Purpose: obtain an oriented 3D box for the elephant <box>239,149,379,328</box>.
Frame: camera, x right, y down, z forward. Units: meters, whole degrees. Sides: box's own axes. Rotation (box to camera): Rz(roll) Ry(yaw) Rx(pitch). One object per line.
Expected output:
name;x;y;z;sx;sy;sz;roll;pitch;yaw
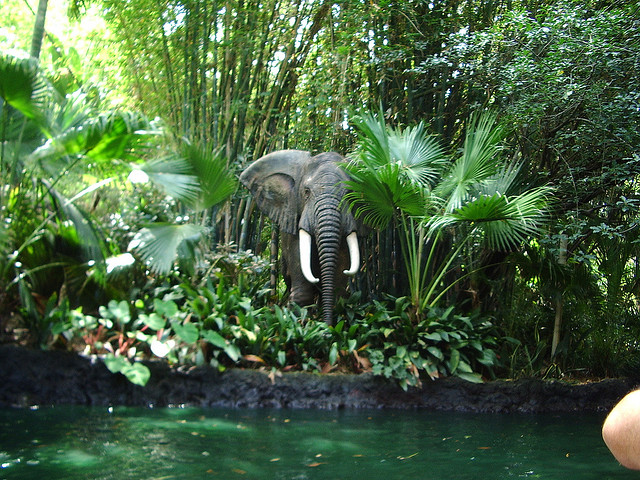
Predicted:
elephant;-0.104;-0.103;7.050;1.622;2.460;0.832;-6;-9;41
